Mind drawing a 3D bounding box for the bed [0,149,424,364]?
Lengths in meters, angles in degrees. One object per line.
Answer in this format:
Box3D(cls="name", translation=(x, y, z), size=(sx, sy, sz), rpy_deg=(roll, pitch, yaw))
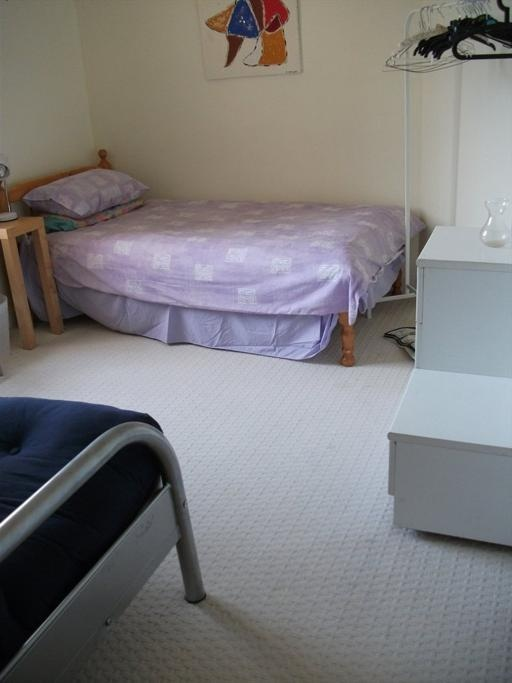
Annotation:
Box3D(cls="bed", translation=(-0.243, -0.467, 3.119), size=(1.848, 0.821, 1.164), rpy_deg=(8, 29, 16))
